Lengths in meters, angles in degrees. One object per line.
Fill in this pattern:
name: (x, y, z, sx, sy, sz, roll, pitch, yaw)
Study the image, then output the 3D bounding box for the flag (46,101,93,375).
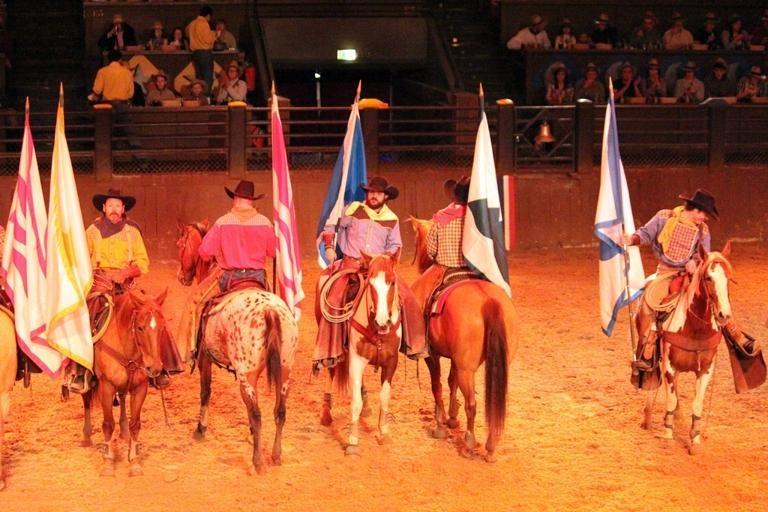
flag: (-4.492, -0.281, 15.109, 0.661, 3.839, 0.794, -2, 8, -11)

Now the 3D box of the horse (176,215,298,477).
horse: (-2.402, 1.270, 16.710, 1.290, 3.182, 4.190, -3, 10, -29)

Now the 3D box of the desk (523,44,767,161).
desk: (7.426, -4.085, 29.089, 6.538, 2.969, 3.853, -1, 8, -5)

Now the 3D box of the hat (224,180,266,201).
hat: (-2.133, -0.972, 16.342, 0.634, 0.276, 0.690, 11, 6, -8)

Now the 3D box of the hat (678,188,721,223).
hat: (4.850, -0.774, 16.227, 0.463, 0.427, 0.639, 2, 8, 15)

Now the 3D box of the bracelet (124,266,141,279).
bracelet: (-3.716, 0.263, 15.758, 0.160, 0.102, 0.209, 19, 26, 33)

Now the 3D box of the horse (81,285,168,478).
horse: (-3.687, 1.748, 15.372, 0.848, 2.670, 1.717, -5, 9, -32)

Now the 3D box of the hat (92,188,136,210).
hat: (-4.510, -0.939, 17.742, 0.629, 0.271, 0.698, 3, -24, -16)

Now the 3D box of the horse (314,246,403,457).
horse: (-0.307, 1.402, 15.886, 1.006, 2.966, 1.782, -4, 9, -26)

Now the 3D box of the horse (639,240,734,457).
horse: (4.516, 1.633, 16.780, 0.886, 2.808, 3.704, 7, -13, -5)

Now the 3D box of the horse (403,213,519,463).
horse: (1.315, 1.654, 16.010, 0.733, 2.535, 1.565, -6, 10, -37)

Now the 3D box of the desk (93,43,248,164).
desk: (-5.366, -3.708, 26.686, 2.997, 1.948, 2.936, 0, 12, -9)
